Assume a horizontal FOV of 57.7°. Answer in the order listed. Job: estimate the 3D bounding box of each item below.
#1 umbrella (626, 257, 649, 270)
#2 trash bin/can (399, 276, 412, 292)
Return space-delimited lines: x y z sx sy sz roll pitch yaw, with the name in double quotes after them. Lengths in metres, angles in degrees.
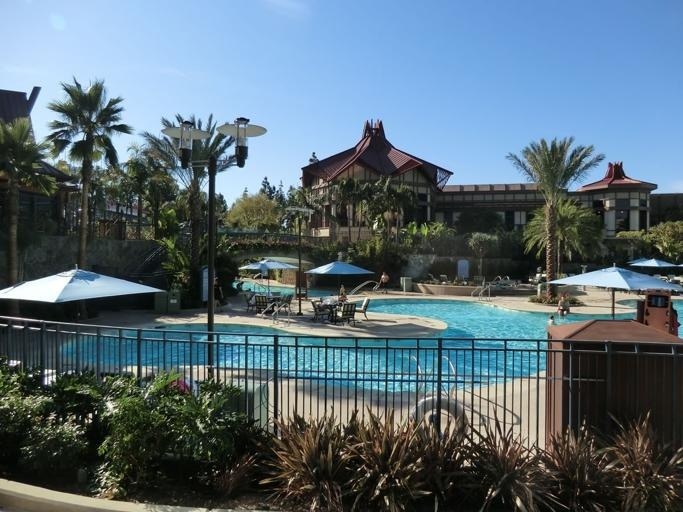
19.645 0.454 41.198 0.929 0.414 0.924 -6 1 -35 "umbrella"
4.387 1.833 41.383 0.764 0.974 1.449 -1 -4 5 "trash bin/can"
